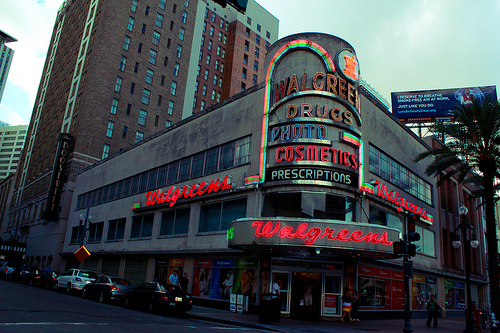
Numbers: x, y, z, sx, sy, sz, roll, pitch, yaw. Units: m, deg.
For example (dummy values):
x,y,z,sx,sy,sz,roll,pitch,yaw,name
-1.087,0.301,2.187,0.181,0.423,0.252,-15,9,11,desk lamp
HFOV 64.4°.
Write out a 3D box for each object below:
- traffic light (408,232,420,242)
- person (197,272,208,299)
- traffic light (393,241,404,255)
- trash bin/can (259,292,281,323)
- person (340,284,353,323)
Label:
x,y,z,sx,sy,sz,roll,pitch,yaw,name
10.178,4.319,24.693,0.687,0.510,0.653,-1,-22,11,traffic light
-4.136,10.332,35.289,0.292,2.100,1.249,21,-28,-37,person
9.269,4.923,24.701,0.640,0.827,0.500,-3,-22,15,traffic light
1.434,9.817,27.887,1.969,1.960,1.943,10,-15,-19,trash bin/can
7.558,10.629,31.073,0.912,2.622,1.264,-2,-22,12,person
